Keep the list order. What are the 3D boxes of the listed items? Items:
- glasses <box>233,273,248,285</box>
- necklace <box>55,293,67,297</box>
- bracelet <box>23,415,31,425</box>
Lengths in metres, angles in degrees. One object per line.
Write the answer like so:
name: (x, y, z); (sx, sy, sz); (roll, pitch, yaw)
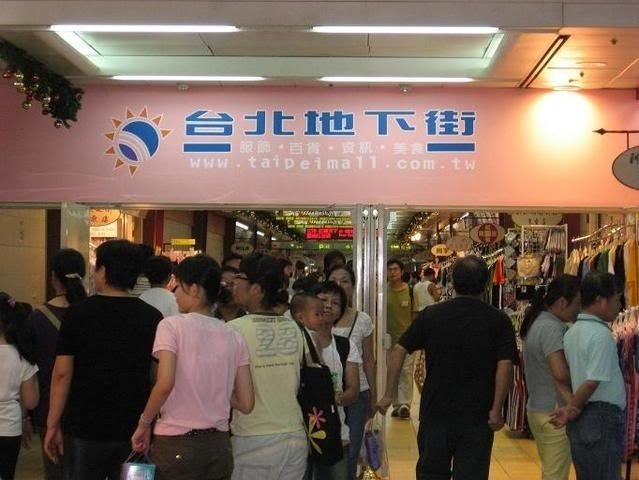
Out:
glasses: (-0.427, 0.223, 3.198); (0.061, 0.067, 0.019); (6, 6, 23)
necklace: (-1.816, 0.385, 4.008); (0.034, 0.027, 0.035); (-3, -11, 16)
bracelet: (-2.030, 1.245, 3.985); (0.048, 0.049, 0.060); (-1, -8, 5)
